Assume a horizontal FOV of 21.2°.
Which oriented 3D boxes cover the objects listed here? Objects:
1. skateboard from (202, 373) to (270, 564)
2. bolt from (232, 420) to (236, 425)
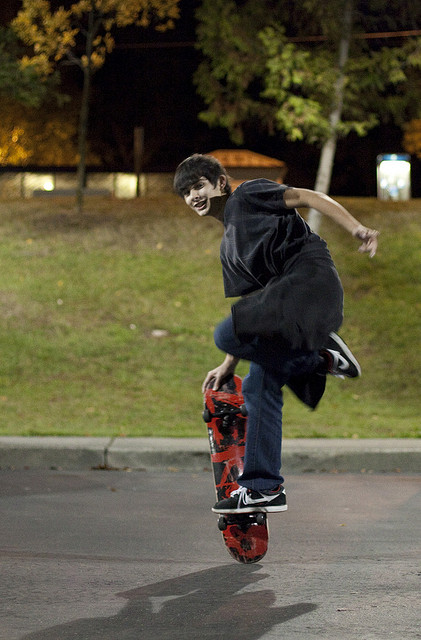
[{"bbox_3d":[0.131,0.698,5.293,0.265,0.949,0.136,-2,3,-12],"label":"skateboard"},{"bbox_3d":[0.117,0.489,5.325,0.014,0.038,0.013,6,-38,-4],"label":"bolt"}]
